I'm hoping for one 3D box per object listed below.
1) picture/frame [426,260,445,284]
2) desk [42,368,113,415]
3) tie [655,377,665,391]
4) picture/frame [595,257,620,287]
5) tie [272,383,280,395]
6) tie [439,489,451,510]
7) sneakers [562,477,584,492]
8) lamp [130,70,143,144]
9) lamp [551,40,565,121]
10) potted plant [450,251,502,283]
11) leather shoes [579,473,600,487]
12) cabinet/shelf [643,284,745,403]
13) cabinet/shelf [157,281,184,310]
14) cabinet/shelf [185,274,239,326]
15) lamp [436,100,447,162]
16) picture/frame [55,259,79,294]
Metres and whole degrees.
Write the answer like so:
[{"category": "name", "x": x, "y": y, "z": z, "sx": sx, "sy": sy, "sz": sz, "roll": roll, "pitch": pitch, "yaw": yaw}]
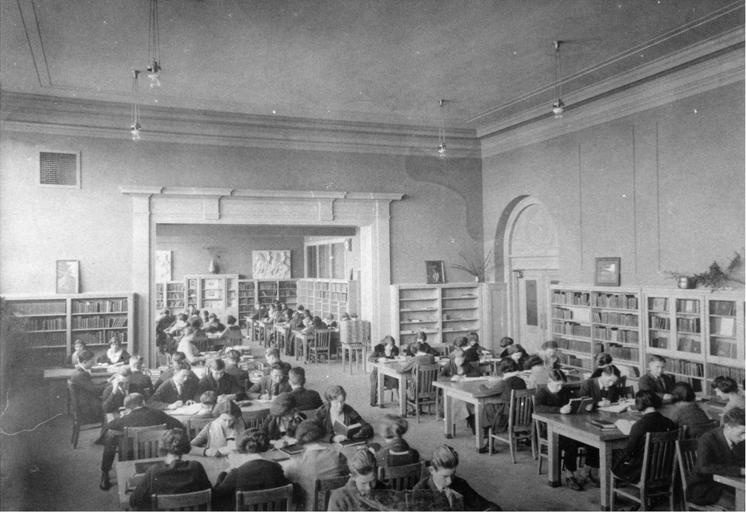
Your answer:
[{"category": "picture/frame", "x": 0.916, "y": 0.208, "z": 8.640, "sx": 0.047, "sy": 0.332, "sz": 0.294, "roll": -15, "pitch": 18, "yaw": -36}, {"category": "desk", "x": -3.159, "y": 1.298, "z": 6.223, "sx": 0.757, "sy": 0.460, "sz": 0.404, "roll": -5, "pitch": -10, "yaw": -30}, {"category": "tie", "x": 3.413, "y": 1.500, "z": 7.028, "sx": 0.099, "sy": 0.165, "sz": 0.045, "roll": 1, "pitch": -3, "yaw": -9}, {"category": "picture/frame", "x": 2.799, "y": 0.177, "z": 7.086, "sx": 0.296, "sy": 0.351, "sz": 0.139, "roll": 0, "pitch": -4, "yaw": 19}, {"category": "tie", "x": -1.118, "y": 1.532, "z": 6.874, "sx": 0.102, "sy": 0.131, "sz": 0.027, "roll": -1, "pitch": -4, "yaw": 31}, {"category": "tie", "x": 0.696, "y": 2.254, "z": 5.555, "sx": 0.125, "sy": 0.167, "sz": 0.045, "roll": -3, "pitch": -7, "yaw": 7}, {"category": "sneakers", "x": 2.340, "y": 2.611, "z": 6.942, "sx": 0.243, "sy": 0.157, "sz": 0.255, "roll": 0, "pitch": -3, "yaw": 5}, {"category": "lamp", "x": -2.533, "y": -1.600, "z": 6.341, "sx": 0.110, "sy": 0.656, "sz": 0.404, "roll": 2, "pitch": -4, "yaw": -22}, {"category": "lamp", "x": 2.177, "y": -2.079, "z": 6.991, "sx": 0.135, "sy": 0.831, "sz": 0.276, "roll": 0, "pitch": -3, "yaw": 17}, {"category": "potted plant", "x": 1.424, "y": 0.140, "z": 8.016, "sx": 0.469, "sy": 0.304, "sz": 0.460, "roll": -4, "pitch": 5, "yaw": -19}, {"category": "leather shoes", "x": 2.580, "y": 2.643, "z": 7.076, "sx": 0.266, "sy": 0.202, "sz": 0.105, "roll": -4, "pitch": -7, "yaw": 12}, {"category": "cabinet/shelf", "x": 3.813, "y": 1.029, "z": 7.020, "sx": 0.398, "sy": 1.240, "sz": 1.287, "roll": 9, "pitch": -9, "yaw": -43}, {"category": "cabinet/shelf", "x": -5.696, "y": 1.090, "z": 16.605, "sx": 1.053, "sy": 0.980, "sz": 0.337, "roll": 0, "pitch": -1, "yaw": -35}, {"category": "cabinet/shelf", "x": -4.286, "y": 1.117, "z": 15.576, "sx": 1.436, "sy": 1.477, "sz": 0.428, "roll": 0, "pitch": -2, "yaw": -21}, {"category": "lamp", "x": 0.836, "y": -1.527, "z": 7.136, "sx": 0.128, "sy": 0.613, "sz": 0.416, "roll": 0, "pitch": -3, "yaw": 5}, {"category": "picture/frame", "x": -3.126, "y": 0.216, "z": 6.054, "sx": 0.031, "sy": 0.357, "sz": 0.212, "roll": -1, "pitch": -2, "yaw": 42}]
